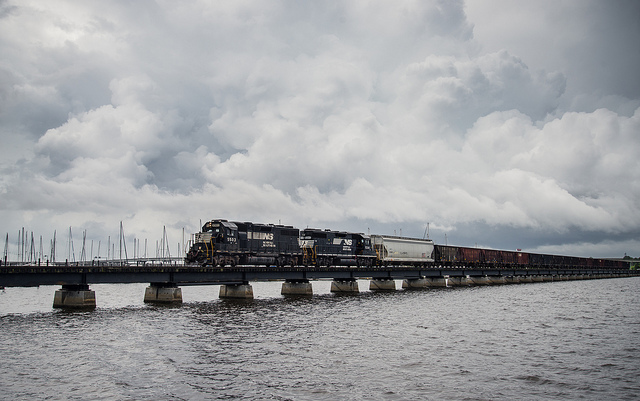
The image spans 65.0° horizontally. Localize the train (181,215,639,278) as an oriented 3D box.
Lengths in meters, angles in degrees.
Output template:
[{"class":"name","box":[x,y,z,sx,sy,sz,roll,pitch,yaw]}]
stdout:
[{"class":"train","box":[51.216,14.482,120.858,182.559,7.597,8.929,8,-13,-44]}]
